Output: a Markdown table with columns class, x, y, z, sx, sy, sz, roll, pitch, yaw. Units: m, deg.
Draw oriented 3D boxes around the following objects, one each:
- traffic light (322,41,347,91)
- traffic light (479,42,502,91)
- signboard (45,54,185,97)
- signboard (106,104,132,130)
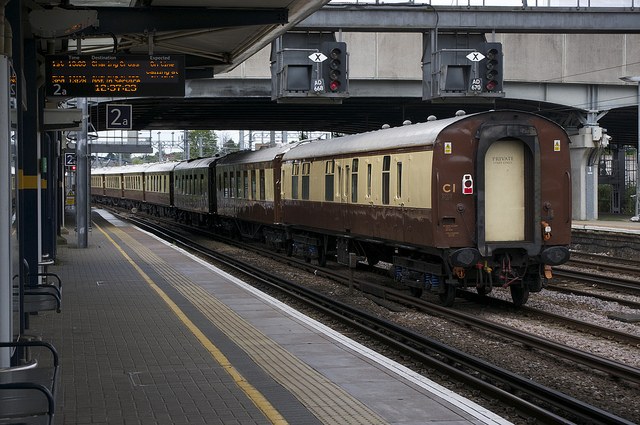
| class | x | y | z | sx | sy | sz | roll | pitch | yaw |
| --- | --- | --- | --- | --- | --- | --- | --- | --- | --- |
| traffic light | 0.473 | -4.868 | 19.036 | 0.810 | 1.653 | 0.828 | 1 | 3 | 0 |
| traffic light | 5.747 | -4.902 | 19.400 | 0.775 | 1.625 | 0.675 | 2 | 3 | 11 |
| signboard | -4.682 | -3.039 | 12.739 | 3.473 | 0.937 | 0.392 | 0 | 2 | -15 |
| signboard | -7.625 | -3.608 | 21.793 | 1.192 | 1.294 | 0.136 | 1 | -15 | -13 |
